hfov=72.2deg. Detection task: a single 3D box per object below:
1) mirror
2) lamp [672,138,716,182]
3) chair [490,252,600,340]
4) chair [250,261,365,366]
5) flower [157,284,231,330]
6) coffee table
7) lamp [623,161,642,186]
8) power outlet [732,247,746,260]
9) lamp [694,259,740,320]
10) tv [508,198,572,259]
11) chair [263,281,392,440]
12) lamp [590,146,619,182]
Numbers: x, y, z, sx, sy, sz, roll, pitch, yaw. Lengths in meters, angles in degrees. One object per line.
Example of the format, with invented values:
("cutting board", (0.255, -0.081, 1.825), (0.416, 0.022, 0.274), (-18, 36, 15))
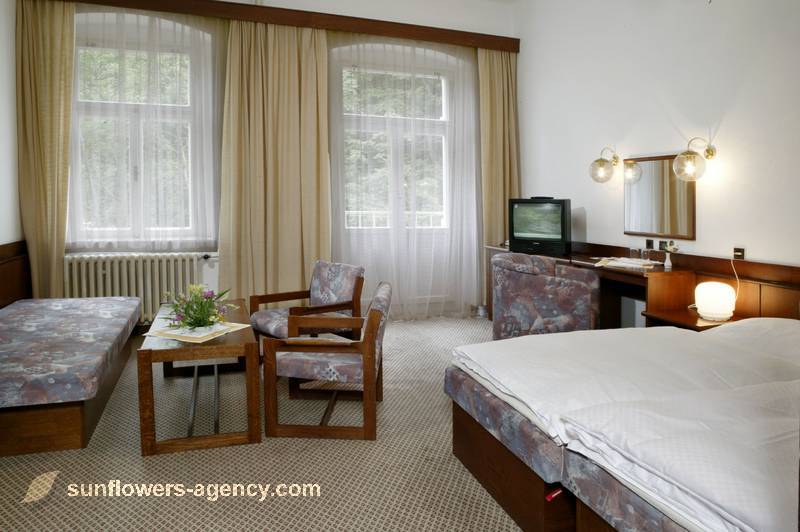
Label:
("mirror", (2.622, -0.685, 5.591), (0.034, 0.823, 0.778), (-10, 11, -33))
("lamp", (2.724, -0.983, 5.076), (0.396, 0.417, 0.274), (3, -11, -16))
("chair", (1.365, 0.170, 5.661), (0.898, 1.004, 1.005), (-8, 32, -2))
("chair", (-0.920, 0.365, 5.413), (0.961, 1.110, 0.905), (0, 2, -37))
("flower", (-1.646, 0.364, 4.486), (0.469, 0.282, 0.403), (-7, -26, 20))
("coffee table", (-1.548, 0.465, 4.274), (0.737, 0.645, 1.782), (-2, 8, -15))
("lamp", (2.422, -0.958, 5.739), (0.188, 0.234, 0.194), (-4, 1, -15))
("power outlet", (3.027, -0.103, 4.911), (0.087, 0.126, 0.127), (2, 0, 5))
("lamp", (2.778, 0.290, 4.799), (0.263, 0.325, 0.484), (9, 14, 43))
("tv", (1.661, -0.427, 6.420), (0.345, 0.662, 0.674), (-1, 2, -42))
("chair", (-0.528, 0.728, 4.760), (1.023, 1.191, 1.339), (1, 0, 1))
("lamp", (2.221, -1.065, 6.002), (0.318, 0.409, 0.260), (6, -3, -21))
